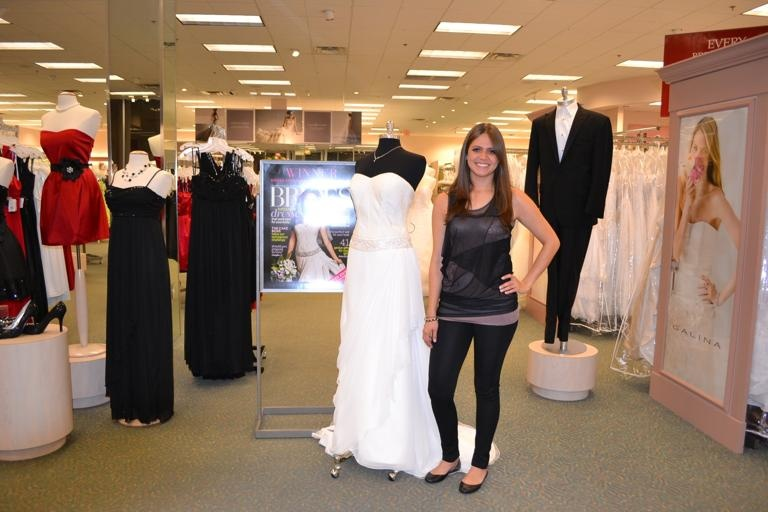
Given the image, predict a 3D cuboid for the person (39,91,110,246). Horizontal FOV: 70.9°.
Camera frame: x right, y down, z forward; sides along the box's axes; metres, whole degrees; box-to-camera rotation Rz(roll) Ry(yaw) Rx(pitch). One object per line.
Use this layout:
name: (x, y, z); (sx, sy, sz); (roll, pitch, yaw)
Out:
person: (-2.876, -0.770, 5.018); (0.694, 1.457, 0.498); (1, 12, -4)

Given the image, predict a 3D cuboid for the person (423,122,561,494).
person: (0.725, 0.404, 4.032); (0.847, 2.710, 0.530); (2, 12, 5)

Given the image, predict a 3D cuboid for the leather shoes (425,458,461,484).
leather shoes: (0.447, 1.675, 4.220); (0.319, 0.135, 0.117); (-13, 8, -28)
